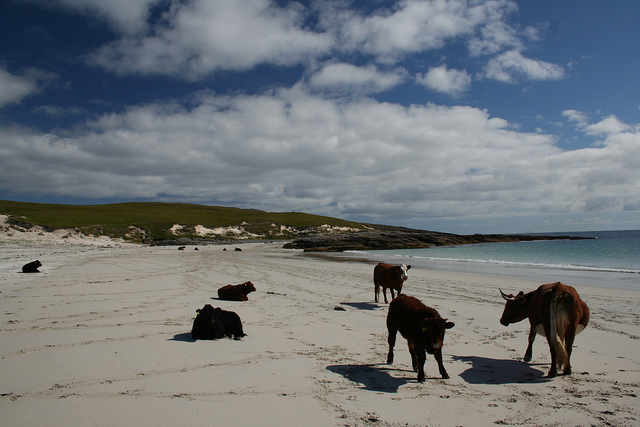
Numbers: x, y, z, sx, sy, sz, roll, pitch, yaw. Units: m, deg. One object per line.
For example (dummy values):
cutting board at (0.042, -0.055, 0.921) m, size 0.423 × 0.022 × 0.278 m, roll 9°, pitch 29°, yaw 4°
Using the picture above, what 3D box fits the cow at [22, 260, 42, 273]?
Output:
cow at (-15.543, 2.930, 20.813) m, size 0.751 × 0.638 × 0.819 m, roll -7°, pitch 16°, yaw -36°

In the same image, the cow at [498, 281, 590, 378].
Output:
cow at (6.710, 3.022, 11.257) m, size 1.719 × 2.495 × 2.199 m, roll -1°, pitch 14°, yaw -14°

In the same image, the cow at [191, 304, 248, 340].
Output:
cow at (-3.130, 3.340, 11.850) m, size 1.483 × 1.027 × 0.636 m, roll -1°, pitch 14°, yaw -15°

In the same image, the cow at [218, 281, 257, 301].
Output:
cow at (-3.566, 3.400, 16.580) m, size 1.626 × 0.719 × 0.586 m, roll 2°, pitch 2°, yaw -14°
